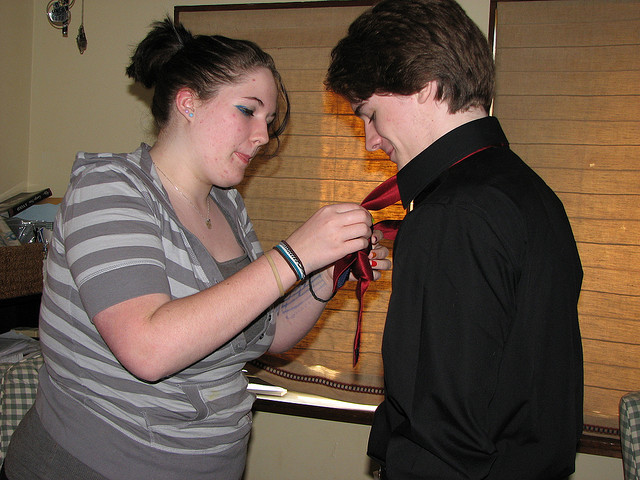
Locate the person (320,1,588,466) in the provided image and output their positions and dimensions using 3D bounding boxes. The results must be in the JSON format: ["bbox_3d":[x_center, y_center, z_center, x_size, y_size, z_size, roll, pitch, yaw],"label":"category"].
[{"bbox_3d":[0.309,-0.002,1.114,0.565,1.004,0.436,1,15,10],"label":"person"}]

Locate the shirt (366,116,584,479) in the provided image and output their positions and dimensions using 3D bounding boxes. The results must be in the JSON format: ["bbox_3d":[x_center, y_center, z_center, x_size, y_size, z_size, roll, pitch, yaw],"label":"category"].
[{"bbox_3d":[0.410,0.159,1.546,0.635,1.116,0.794,1,2,26],"label":"shirt"}]

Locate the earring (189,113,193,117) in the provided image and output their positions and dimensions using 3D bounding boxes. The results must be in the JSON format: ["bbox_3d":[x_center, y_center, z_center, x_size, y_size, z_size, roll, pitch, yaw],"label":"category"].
[{"bbox_3d":[-0.336,-0.322,1.351,0.008,0.010,0.002,1,15,10],"label":"earring"}]

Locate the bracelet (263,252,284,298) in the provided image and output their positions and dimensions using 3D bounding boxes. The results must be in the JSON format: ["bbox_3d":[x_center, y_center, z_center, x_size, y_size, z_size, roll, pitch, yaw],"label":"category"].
[{"bbox_3d":[-0.099,0.078,1.156,0.019,0.080,0.075,-18,-6,-11],"label":"bracelet"}]
